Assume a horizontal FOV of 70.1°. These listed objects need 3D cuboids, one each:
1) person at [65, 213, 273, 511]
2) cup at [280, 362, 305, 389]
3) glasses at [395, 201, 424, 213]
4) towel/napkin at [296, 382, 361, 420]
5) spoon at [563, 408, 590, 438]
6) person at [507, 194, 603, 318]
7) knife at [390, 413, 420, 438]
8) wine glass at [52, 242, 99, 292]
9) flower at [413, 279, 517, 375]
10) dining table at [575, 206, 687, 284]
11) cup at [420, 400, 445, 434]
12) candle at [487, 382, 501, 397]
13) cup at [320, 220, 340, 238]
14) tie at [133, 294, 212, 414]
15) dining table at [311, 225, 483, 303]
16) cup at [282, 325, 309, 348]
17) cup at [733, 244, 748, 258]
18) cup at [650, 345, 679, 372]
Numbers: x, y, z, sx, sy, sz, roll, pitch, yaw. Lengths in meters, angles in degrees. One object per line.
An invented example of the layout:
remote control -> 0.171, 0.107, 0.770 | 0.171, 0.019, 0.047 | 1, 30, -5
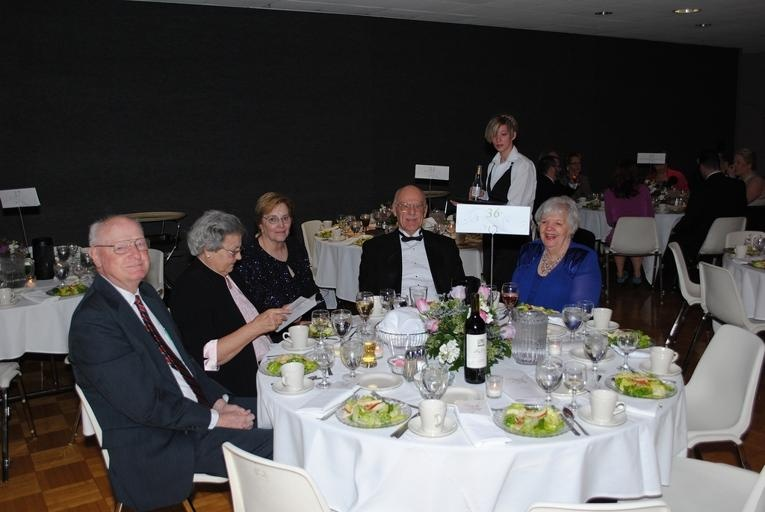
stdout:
person -> -1.178, 0.522, 2.916 | 0.879, 1.478, 0.533 | -5, 9, -16
cup -> -0.445, 0.595, 2.783 | 0.094, 0.100, 0.139 | 5, 15, 17
glasses -> 0.219, -0.398, 4.361 | 0.250, 0.126, 0.172 | -2, 9, 2
towel/napkin -> -0.264, 0.692, 2.631 | 0.125, 0.036, 0.219 | 2, 17, 36
spoon -> 0.877, 0.754, 2.467 | 0.039, 0.021, 0.152 | 4, 26, -18
person -> 1.181, 0.044, 3.768 | 0.546, 0.900, 0.716 | -16, 19, -33
knife -> 0.096, 0.776, 2.447 | 0.040, 0.014, 0.286 | 23, 19, 15
wine glass -> -2.420, 0.101, 4.266 | 0.288, 0.333, 0.305 | 13, 19, 35
flower -> 0.445, 0.315, 2.940 | 0.403, 0.305, 0.363 | 8, 23, 12
dining table -> 3.664, -0.042, 7.810 | 0.805, 1.152, 0.830 | 1, 2, 11
cup -> 0.230, 0.732, 2.457 | 0.130, 0.121, 0.160 | 0, 4, -6
candle -> 0.547, 0.645, 2.658 | 0.062, 0.069, 0.063 | 0, 1, 3
cup -> -0.592, -0.308, 6.232 | 0.190, 0.141, 0.298 | 0, 0, 1
tie -> -1.161, 0.552, 2.981 | 0.092, 0.874, 0.093 | -4, 47, 17
dining table -> 0.161, 0.221, 6.194 | 1.708, 0.631, 1.610 | -3, -4, -30
cup -> -0.506, 0.465, 3.193 | 0.131, 0.104, 0.108 | -6, 10, 3
cup -> 3.350, -0.049, 5.083 | 0.126, 0.126, 0.109 | -1, -2, 26
cup -> 1.471, 0.530, 2.840 | 0.144, 0.112, 0.114 | 4, -2, -44
